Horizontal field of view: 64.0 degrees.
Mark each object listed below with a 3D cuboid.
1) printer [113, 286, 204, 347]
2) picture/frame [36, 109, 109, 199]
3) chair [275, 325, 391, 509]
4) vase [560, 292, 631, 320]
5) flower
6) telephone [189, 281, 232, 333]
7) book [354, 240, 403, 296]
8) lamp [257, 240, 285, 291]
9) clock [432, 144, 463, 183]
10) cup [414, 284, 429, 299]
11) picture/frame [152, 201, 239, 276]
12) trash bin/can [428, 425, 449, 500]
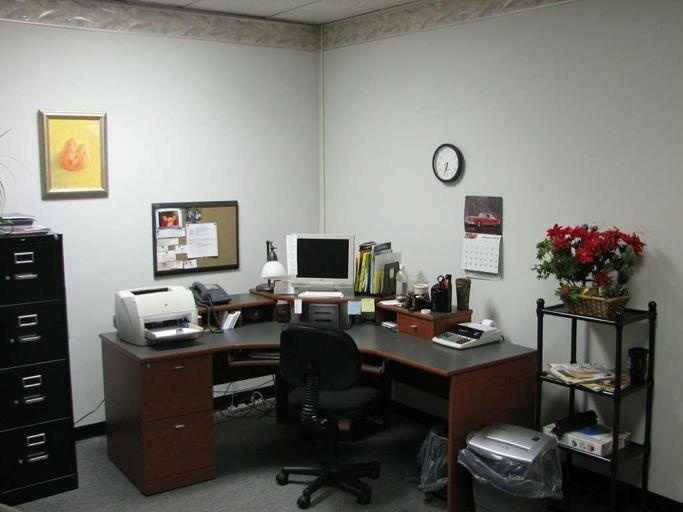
[{"bbox_3d":[-1.253,0.366,3.624,0.414,0.279,0.402,-5,1,-34],"label":"printer"},{"bbox_3d":[-1.972,-0.743,3.939,0.584,0.839,0.109,-3,7,-33],"label":"picture/frame"},{"bbox_3d":[-0.089,0.928,3.492,0.651,1.157,0.638,-4,11,-20],"label":"chair"},{"bbox_3d":[1.455,0.288,3.138,0.170,0.091,0.233,-3,6,-39],"label":"vase"},{"bbox_3d":[1.446,0.009,3.174,0.488,0.402,0.450,2,14,8],"label":"flower"},{"bbox_3d":[-0.983,0.374,4.097,0.224,0.115,0.355,-5,21,-38],"label":"telephone"},{"bbox_3d":[0.276,0.110,4.174,0.356,0.399,0.198,-3,11,-28],"label":"book"},{"bbox_3d":[-0.628,0.090,4.426,0.250,0.445,0.362,-2,4,-26],"label":"lamp"},{"bbox_3d":[0.795,-0.690,4.064,0.051,0.342,0.281,-6,5,-40],"label":"clock"},{"bbox_3d":[0.573,0.255,3.939,0.086,0.089,0.086,2,7,0],"label":"cup"},{"bbox_3d":[-1.228,-0.149,4.446,0.539,0.499,0.040,-4,9,-29],"label":"picture/frame"},{"bbox_3d":[0.600,1.309,3.406,0.108,0.428,0.250,2,10,9],"label":"trash bin/can"}]
